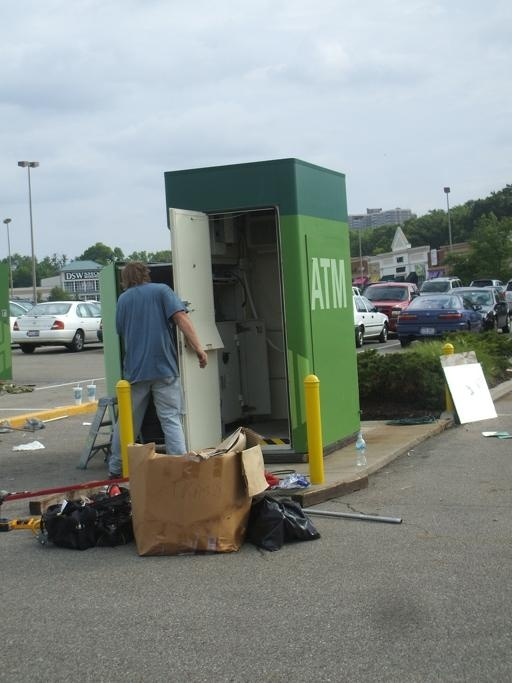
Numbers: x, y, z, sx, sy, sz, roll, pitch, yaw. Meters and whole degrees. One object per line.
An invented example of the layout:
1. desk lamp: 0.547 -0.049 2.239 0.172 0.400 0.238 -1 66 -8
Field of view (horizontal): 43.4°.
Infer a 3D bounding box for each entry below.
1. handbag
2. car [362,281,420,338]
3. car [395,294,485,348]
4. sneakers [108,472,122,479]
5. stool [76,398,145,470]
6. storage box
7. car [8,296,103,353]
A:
1. handbag: -1.193 1.246 4.573 0.536 0.229 0.387 -9 -4 3
2. car: 5.960 -1.815 28.561 1.839 1.387 3.014 0 0 18
3. car: 5.902 -0.474 20.788 1.802 1.202 2.838 -1 13 28
4. sneakers: -1.367 1.315 6.241 0.117 0.108 0.103 0 1 -16
5. stool: -1.682 1.063 7.431 0.506 0.714 0.464 3 -8 -25
6. storage box: -0.443 1.042 4.523 1.008 0.807 0.723 0 -2 0
7. car: -7.729 -0.629 26.050 2.189 1.505 5.004 -1 6 20
